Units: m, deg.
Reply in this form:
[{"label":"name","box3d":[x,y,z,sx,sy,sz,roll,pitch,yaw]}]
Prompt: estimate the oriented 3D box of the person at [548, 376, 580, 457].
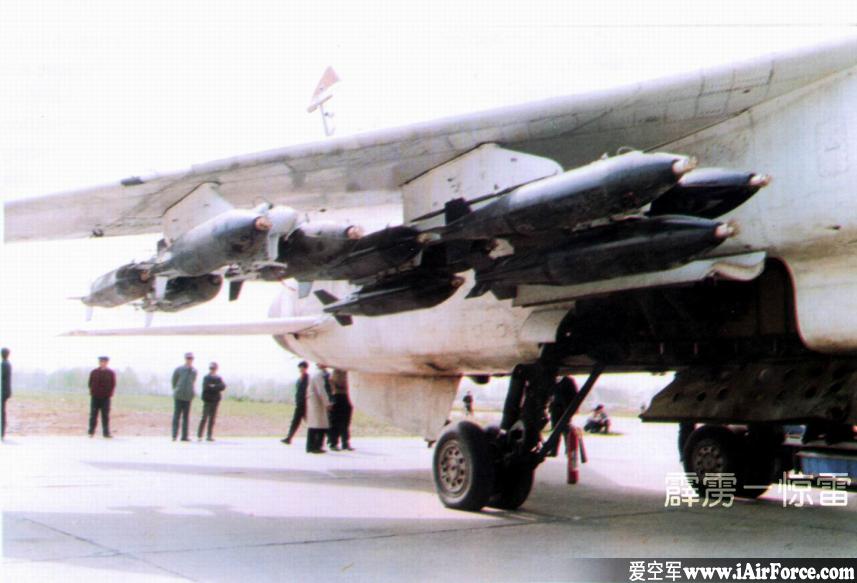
[{"label":"person","box3d":[1.960,1.658,19.096,0.440,1.082,0.378,-5,-23,44]}]
